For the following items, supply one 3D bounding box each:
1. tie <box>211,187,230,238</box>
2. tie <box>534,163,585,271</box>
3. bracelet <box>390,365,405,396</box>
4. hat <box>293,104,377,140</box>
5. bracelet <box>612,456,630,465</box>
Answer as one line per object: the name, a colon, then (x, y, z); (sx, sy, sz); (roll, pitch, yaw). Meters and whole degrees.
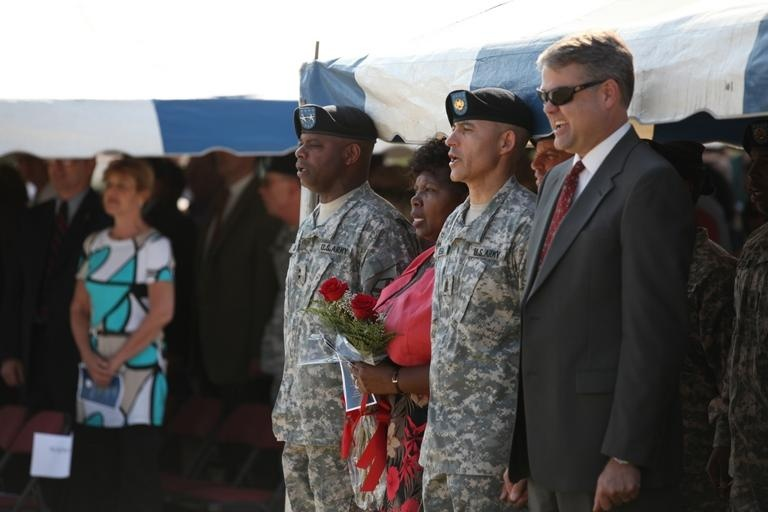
tie: (-1.273, -0.339, 10.093); (0.134, 0.383, 0.025); (2, 5, 4)
tie: (1.009, -0.200, 7.339); (0.057, 0.706, 0.095); (33, -19, -6)
bracelet: (0.093, 0.781, 8.159); (0.071, 0.155, 0.053); (4, 5, 25)
hat: (-0.340, -0.921, 8.891); (0.411, 0.141, 0.283); (4, -4, -1)
bracelet: (1.296, 1.115, 7.045); (0.082, 0.043, 0.025); (3, 5, 12)
